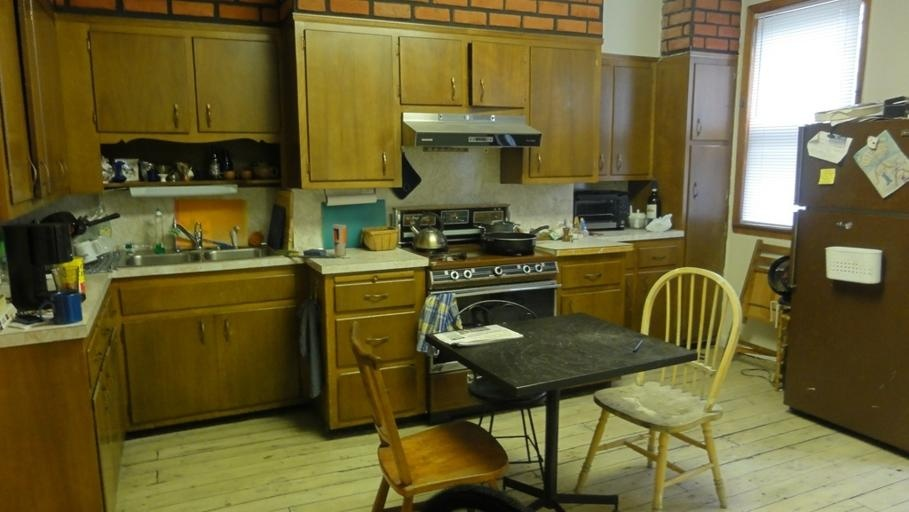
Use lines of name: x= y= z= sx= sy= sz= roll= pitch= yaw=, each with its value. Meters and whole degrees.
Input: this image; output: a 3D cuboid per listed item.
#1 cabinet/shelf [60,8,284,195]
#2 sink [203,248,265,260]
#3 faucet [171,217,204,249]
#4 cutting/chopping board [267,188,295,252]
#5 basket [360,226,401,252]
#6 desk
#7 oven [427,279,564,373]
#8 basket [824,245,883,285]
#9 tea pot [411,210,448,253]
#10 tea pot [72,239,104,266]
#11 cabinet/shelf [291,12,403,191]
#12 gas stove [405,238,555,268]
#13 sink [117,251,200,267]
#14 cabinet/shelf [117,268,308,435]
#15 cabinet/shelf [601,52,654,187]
cabinet/shelf: x=-2.401 y=-1.345 z=5.516 sx=1.943 sy=1.292 sz=0.623 roll=-3 pitch=8 yaw=-24
sink: x=-1.942 y=-0.025 z=5.839 sx=0.285 sy=0.073 sz=0.164 roll=-4 pitch=12 yaw=-27
faucet: x=-2.336 y=-0.202 z=5.819 sx=0.234 sy=0.270 sz=0.146 roll=-7 pitch=15 yaw=-12
cutting/chopping board: x=-1.509 y=-0.315 z=5.802 sx=0.078 sy=0.590 sz=0.589 roll=-1 pitch=9 yaw=-35
basket: x=-0.658 y=-0.153 z=5.853 sx=0.301 sy=0.118 sz=0.217 roll=-2 pitch=6 yaw=-36
desk: x=0.805 y=1.162 z=4.702 sx=1.699 sy=1.260 sz=1.533 roll=-6 pitch=12 yaw=-27
oven: x=0.279 y=0.471 z=5.894 sx=1.175 sy=0.872 sz=0.594 roll=-8 pitch=20 yaw=-32
basket: x=3.186 y=0.055 z=5.331 sx=0.312 sy=0.312 sz=0.550 roll=-5 pitch=6 yaw=-40
tea pot: x=-0.219 y=-0.207 z=5.892 sx=0.430 sy=0.298 sz=0.316 roll=3 pitch=4 yaw=24
tea pot: x=-2.904 y=-0.043 z=5.283 sx=0.152 sy=0.176 sz=0.303 roll=-7 pitch=13 yaw=-10
cabinet/shelf: x=-0.881 y=-1.261 z=5.535 sx=0.915 sy=1.373 sz=0.333 roll=-6 pitch=15 yaw=-5
gas stove: x=0.197 y=-0.044 z=5.877 sx=1.140 sy=0.166 sz=0.646 roll=-7 pitch=13 yaw=-20
sink: x=-2.519 y=0.016 z=5.651 sx=0.335 sy=0.068 sz=0.197 roll=-4 pitch=13 yaw=-28
cabinet/shelf: x=-2.057 y=0.750 z=5.471 sx=1.644 sy=1.225 sz=0.846 roll=-2 pitch=4 yaw=-25
cabinet/shelf: x=1.741 y=-1.402 z=6.672 sx=0.800 sy=1.223 sz=0.217 roll=-14 pitch=17 yaw=-32
